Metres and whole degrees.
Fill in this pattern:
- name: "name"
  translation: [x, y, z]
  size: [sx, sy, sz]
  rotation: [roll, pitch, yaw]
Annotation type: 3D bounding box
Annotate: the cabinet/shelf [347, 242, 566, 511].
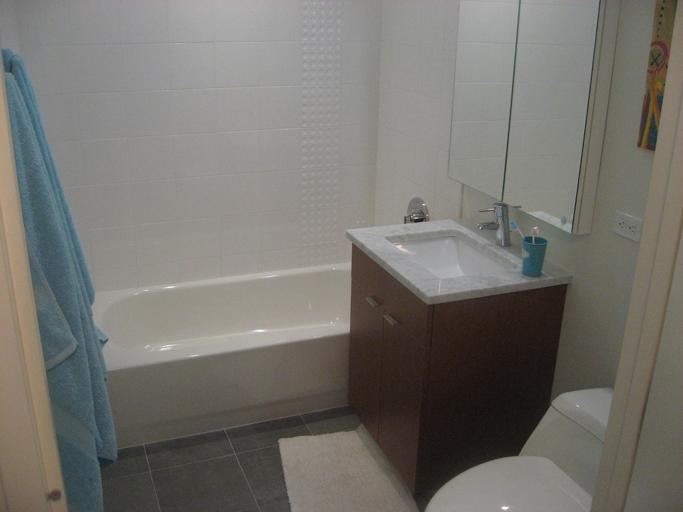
- name: "cabinet/shelf"
  translation: [0.443, 0.474, 2.614]
  size: [0.840, 1.217, 1.176]
  rotation: [-4, 19, -14]
